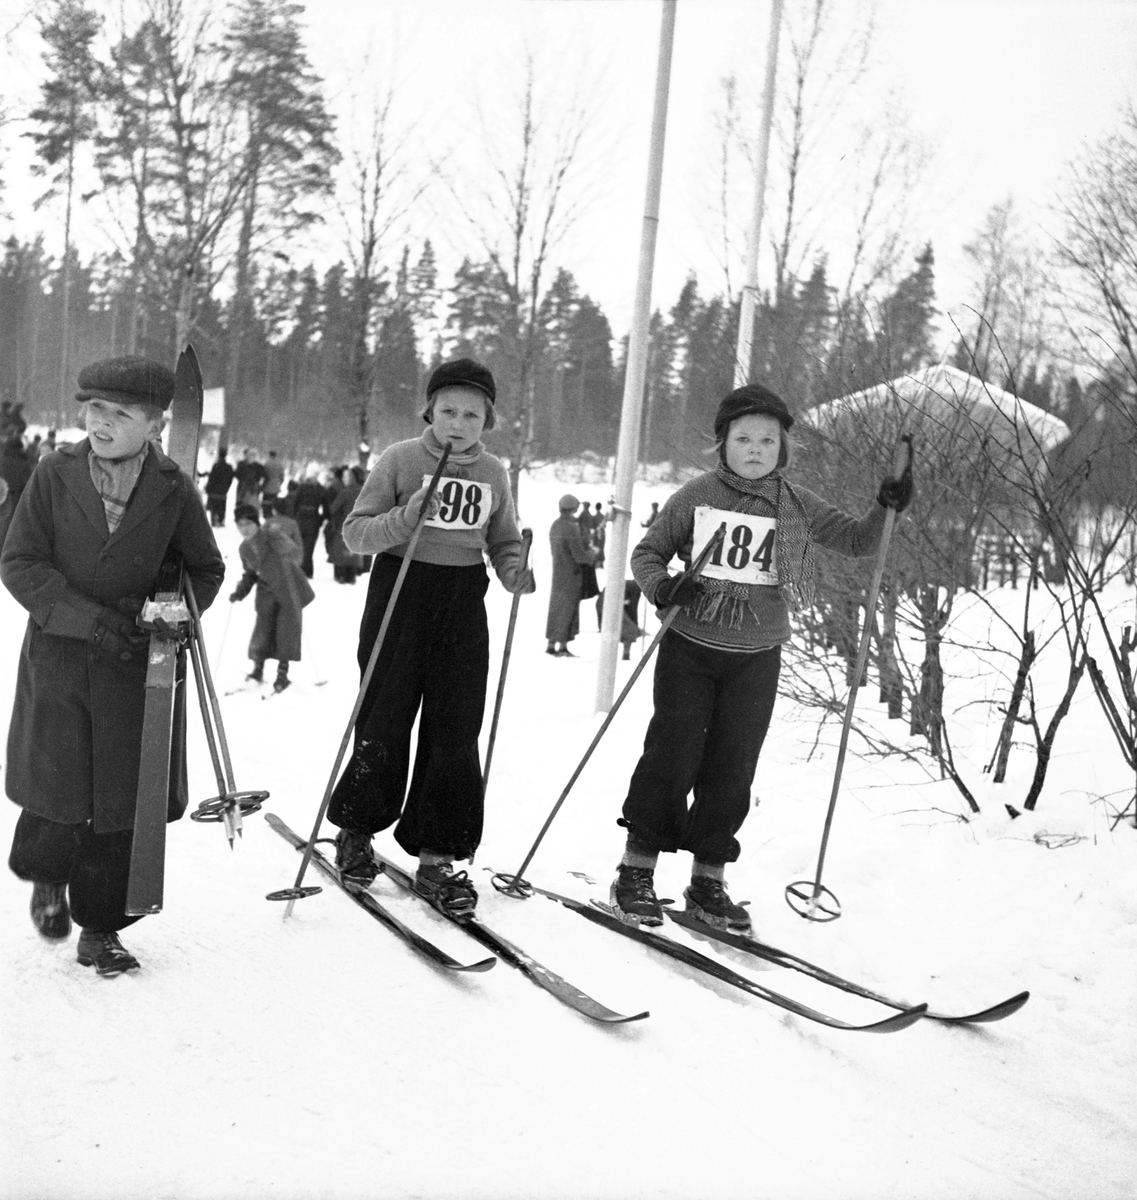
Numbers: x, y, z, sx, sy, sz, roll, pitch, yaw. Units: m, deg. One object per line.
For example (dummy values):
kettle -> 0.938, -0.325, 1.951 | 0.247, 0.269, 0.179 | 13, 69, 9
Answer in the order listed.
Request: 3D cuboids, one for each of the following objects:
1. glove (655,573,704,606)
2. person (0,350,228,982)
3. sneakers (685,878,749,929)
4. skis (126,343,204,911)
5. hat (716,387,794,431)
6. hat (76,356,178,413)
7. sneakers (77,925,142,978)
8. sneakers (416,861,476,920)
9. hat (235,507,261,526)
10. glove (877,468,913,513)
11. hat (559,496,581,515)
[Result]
glove -> 0.335, -0.033, 3.527 | 0.109, 0.103, 0.122 | -29, 7, 0
person -> -1.219, 0.146, 3.042 | 0.535, 1.482, 0.393 | 3, 0, -21
sneakers -> 0.475, 0.992, 3.724 | 0.189, 0.140, 0.098 | 8, 6, 42
skis -> -1.074, -0.137, 3.072 | 0.124, 1.998, 0.187 | 3, -3, -9
hat -> 0.596, -0.611, 3.681 | 0.247, 0.153, 0.191 | 5, 0, 8
hat -> -1.127, -0.526, 2.924 | 0.165, 0.097, 0.126 | 8, 7, -44
sneakers -> -1.186, 0.900, 2.947 | 0.178, 0.099, 0.111 | 5, 1, 35
sneakers -> -0.406, 0.958, 3.784 | 0.096, 0.122, 0.250 | 12, -5, -35
hat -> -2.385, -0.642, 8.499 | 0.117, 0.041, 0.152 | -7, -37, -14
glove -> 0.976, -0.331, 3.462 | 0.080, 0.131, 0.042 | -5, 30, -35
hat -> -0.001, -0.988, 11.732 | 0.155, 0.163, 0.151 | 9, 10, 31
